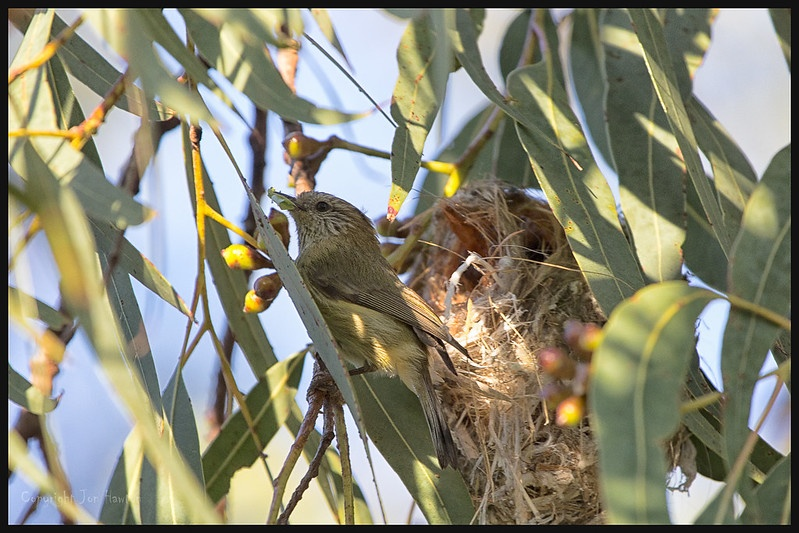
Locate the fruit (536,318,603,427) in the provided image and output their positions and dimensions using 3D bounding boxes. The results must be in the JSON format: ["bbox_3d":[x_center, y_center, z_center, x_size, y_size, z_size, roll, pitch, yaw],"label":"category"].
[{"bbox_3d":[0.643,0.424,3.797,0.116,0.370,0.367,17,-24,2],"label":"fruit"}]

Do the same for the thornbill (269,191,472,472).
[{"bbox_3d":[-0.124,0.323,4.436,0.429,1.259,0.709,-33,-26,-41],"label":"thornbill"}]
